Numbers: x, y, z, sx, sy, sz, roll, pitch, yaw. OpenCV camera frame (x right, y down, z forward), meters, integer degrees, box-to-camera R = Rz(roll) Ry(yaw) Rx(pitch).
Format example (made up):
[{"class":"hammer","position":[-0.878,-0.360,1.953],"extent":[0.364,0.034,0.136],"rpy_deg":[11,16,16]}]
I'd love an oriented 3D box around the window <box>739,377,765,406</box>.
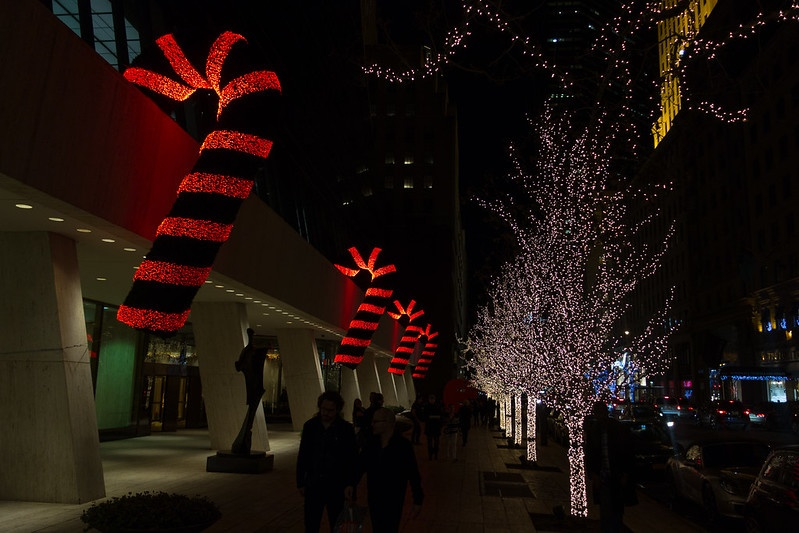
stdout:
[{"class":"window","position":[31.954,11.331,46.792],"extent":[2.645,3.013,1.535],"rpy_deg":[-2,-9,28]}]
